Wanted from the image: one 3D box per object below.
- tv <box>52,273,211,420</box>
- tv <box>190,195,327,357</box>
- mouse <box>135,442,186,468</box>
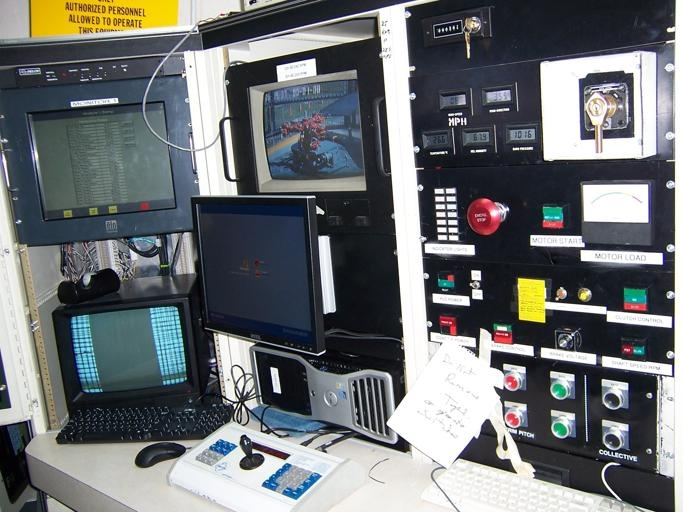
[{"bbox_3d":[-0.783,0.280,2.084,0.446,0.370,0.478,-8,-1,-10],"label":"tv"},{"bbox_3d":[-0.256,0.047,1.824,0.510,0.462,0.053,8,16,37],"label":"tv"},{"bbox_3d":[-0.584,0.626,1.821,0.152,0.057,0.072,-8,11,-29],"label":"mouse"}]
